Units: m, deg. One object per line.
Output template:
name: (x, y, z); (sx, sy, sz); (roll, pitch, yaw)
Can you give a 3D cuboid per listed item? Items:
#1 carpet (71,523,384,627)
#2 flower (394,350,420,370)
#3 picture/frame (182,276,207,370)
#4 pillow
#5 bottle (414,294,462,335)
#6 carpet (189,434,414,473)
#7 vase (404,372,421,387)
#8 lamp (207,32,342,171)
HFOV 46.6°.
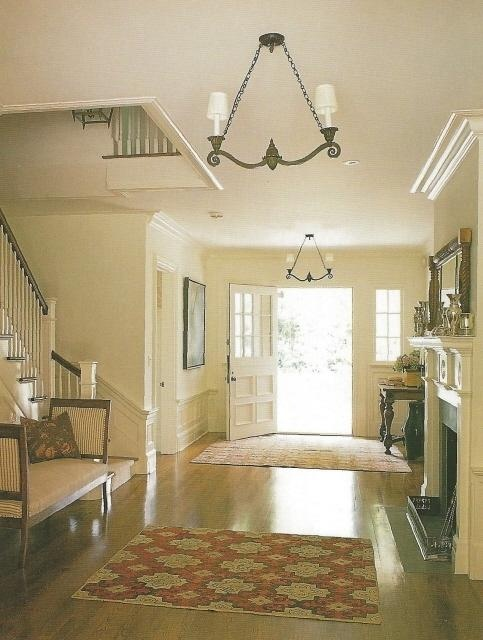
carpet: (-0.007, 1.446, 3.289); (1.562, 0.031, 1.208); (0, -3, 10)
flower: (2.042, 0.511, 6.906); (0.265, 0.261, 0.624); (0, -3, 10)
picture/frame: (-0.622, 0.027, 7.672); (0.070, 1.175, 1.124); (1, 0, -19)
pillow: (-1.483, 0.915, 4.338); (0.139, 0.458, 0.477); (-33, -17, 34)
bottle: (1.299, -0.032, 3.715); (0.163, 0.217, 0.540); (1, 5, 12)
carpet: (0.768, 1.619, 6.952); (2.379, 0.027, 2.091); (0, -3, 11)
vase: (2.031, 0.713, 6.695); (0.166, 0.168, 0.166); (2, -9, -12)
lamp: (0.121, -0.865, 2.238); (0.549, 0.515, 0.134); (1, 9, 15)
